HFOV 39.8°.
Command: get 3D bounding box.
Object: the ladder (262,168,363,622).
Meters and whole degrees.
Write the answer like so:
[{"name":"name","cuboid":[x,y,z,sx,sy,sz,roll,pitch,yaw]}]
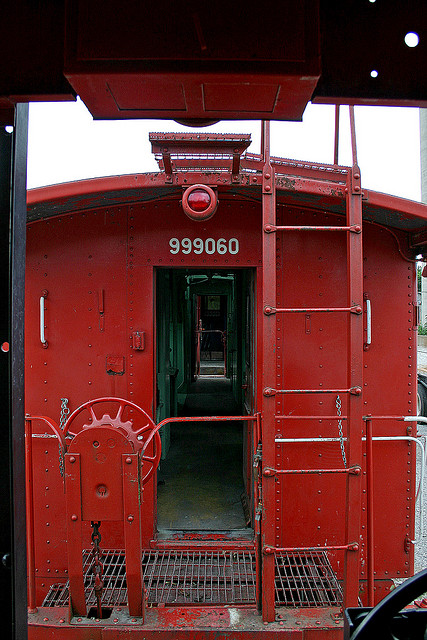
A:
[{"name":"ladder","cuboid":[0.589,0.494,3.668,0.489,3.513,0.333,-1,26,9]}]
